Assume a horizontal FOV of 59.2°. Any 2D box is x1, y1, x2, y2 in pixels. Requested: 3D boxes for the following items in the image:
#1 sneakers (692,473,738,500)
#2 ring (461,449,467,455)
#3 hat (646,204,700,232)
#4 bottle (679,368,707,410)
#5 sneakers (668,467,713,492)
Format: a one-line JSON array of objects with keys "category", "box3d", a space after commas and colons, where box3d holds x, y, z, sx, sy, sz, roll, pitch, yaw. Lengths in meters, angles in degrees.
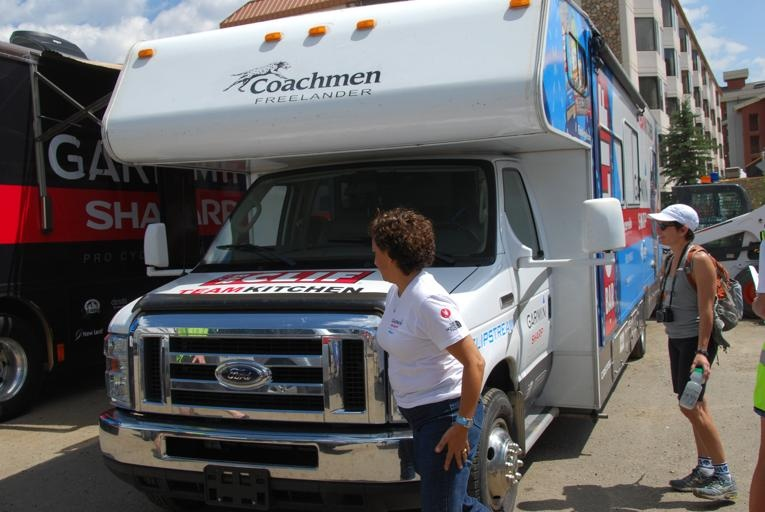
[{"category": "sneakers", "box3d": [3.105, 2.169, 6.379, 0.475, 0.269, 0.188, 0, -6, 1]}, {"category": "ring", "box3d": [0.560, 1.350, 4.669, 0.049, 0.047, 0.009, -7, 9, -36]}, {"category": "hat", "box3d": [2.871, -0.365, 6.580, 0.372, 0.214, 0.268, 12, 0, 5]}, {"category": "bottle", "box3d": [2.825, 1.214, 6.139, 0.298, 0.397, 0.159, -4, 8, -23]}, {"category": "sneakers", "box3d": [2.950, 2.139, 6.489, 0.415, 0.207, 0.166, -7, -2, 32]}]
